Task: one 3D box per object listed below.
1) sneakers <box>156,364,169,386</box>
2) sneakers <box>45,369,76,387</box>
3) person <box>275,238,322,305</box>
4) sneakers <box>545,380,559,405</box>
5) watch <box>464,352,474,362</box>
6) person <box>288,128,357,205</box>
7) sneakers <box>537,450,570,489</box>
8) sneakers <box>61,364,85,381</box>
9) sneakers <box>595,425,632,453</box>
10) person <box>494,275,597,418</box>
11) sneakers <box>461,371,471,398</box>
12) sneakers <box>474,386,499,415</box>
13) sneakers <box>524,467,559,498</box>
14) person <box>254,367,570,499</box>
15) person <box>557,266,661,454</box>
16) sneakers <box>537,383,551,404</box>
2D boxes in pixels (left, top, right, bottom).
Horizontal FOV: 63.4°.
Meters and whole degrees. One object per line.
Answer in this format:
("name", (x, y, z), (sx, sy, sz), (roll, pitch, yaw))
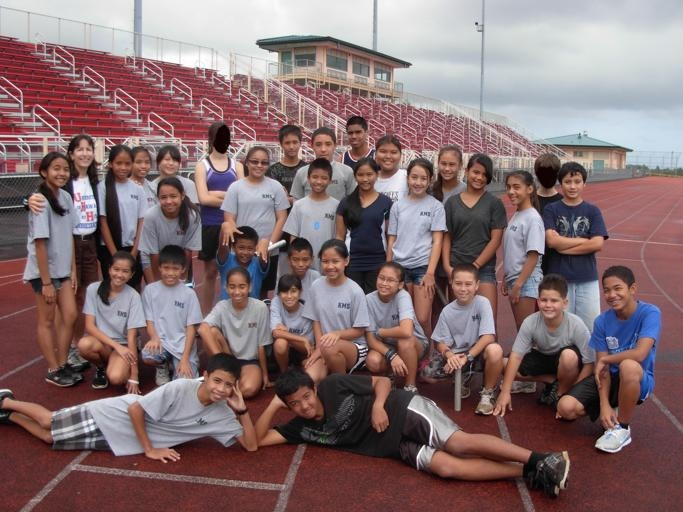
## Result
("sneakers", (-1.690, 1.129, 5.240), (0.124, 0.195, 0.326), (2, 2, -16))
("sneakers", (-2.634, 1.138, 5.233), (0.289, 0.124, 0.122), (7, 17, 21))
("person", (-0.410, 0.155, 5.472), (0.655, 0.699, 0.382), (-1, 6, -6))
("sneakers", (1.890, 1.242, 5.036), (0.109, 0.232, 0.079), (25, -19, -29))
("watch", (1.138, 0.911, 4.931), (0.064, 0.092, 0.087), (-18, 4, -4))
("person", (-0.197, -0.854, 6.247), (0.774, 1.123, 0.317), (-2, -3, 2))
("sneakers", (1.382, 1.404, 3.708), (0.155, 0.122, 0.337), (7, 9, 0))
("sneakers", (-2.577, 1.112, 5.307), (0.305, 0.127, 0.104), (10, 12, 31))
("sneakers", (2.091, 1.382, 4.275), (0.328, 0.135, 0.136), (-11, 20, -38))
("person", (1.838, 0.831, 4.921), (0.797, 1.146, 0.957), (14, 27, 38))
("sneakers", (1.142, 1.202, 5.119), (0.090, 0.112, 0.259), (0, 43, 15))
("sneakers", (1.238, 1.276, 4.838), (0.107, 0.120, 0.317), (-1, 2, 20))
("sneakers", (1.339, 1.464, 3.691), (0.204, 0.205, 0.088), (16, 51, 36))
("person", (0.526, 1.302, 3.991), (1.627, 0.480, 1.026), (14, -28, 6))
("person", (2.146, 0.787, 4.422), (0.593, 1.383, 0.830), (12, 17, 41))
("sneakers", (1.864, 1.257, 5.078), (0.073, 0.097, 0.225), (-25, 27, 50))
